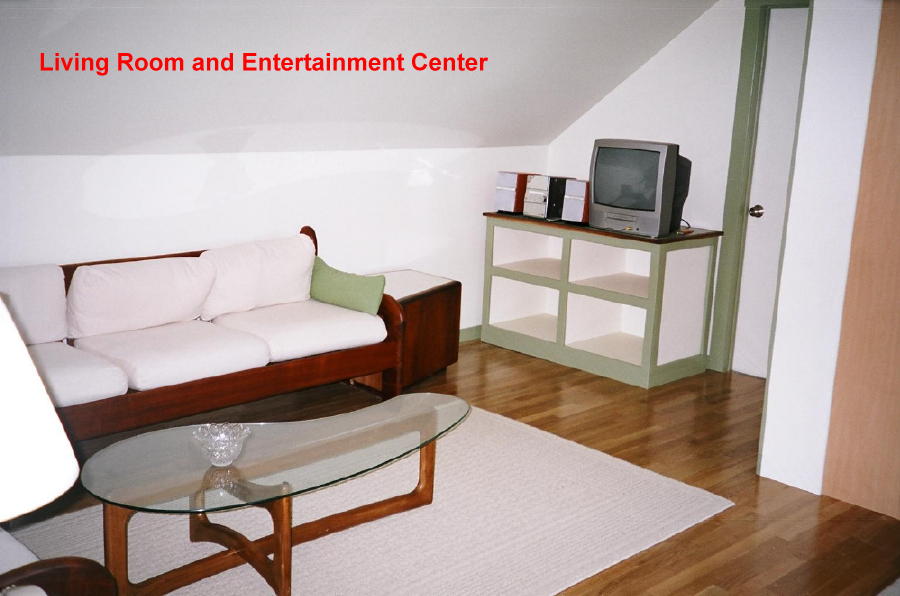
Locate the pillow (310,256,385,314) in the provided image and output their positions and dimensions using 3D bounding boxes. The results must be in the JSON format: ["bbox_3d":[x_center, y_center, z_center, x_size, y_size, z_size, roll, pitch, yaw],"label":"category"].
[{"bbox_3d":[-0.727,-0.065,4.640,0.512,0.274,0.165,14,-2,34],"label":"pillow"}]

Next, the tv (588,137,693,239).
[{"bbox_3d":[1.367,-0.874,5.244,0.734,0.822,0.914,-16,21,-39],"label":"tv"}]

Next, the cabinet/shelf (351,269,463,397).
[{"bbox_3d":[-0.250,0.199,4.998,0.818,0.785,0.804,11,16,40],"label":"cabinet/shelf"}]

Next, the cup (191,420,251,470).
[{"bbox_3d":[-1.038,0.656,3.070,0.196,0.129,0.190,1,3,0],"label":"cup"}]
